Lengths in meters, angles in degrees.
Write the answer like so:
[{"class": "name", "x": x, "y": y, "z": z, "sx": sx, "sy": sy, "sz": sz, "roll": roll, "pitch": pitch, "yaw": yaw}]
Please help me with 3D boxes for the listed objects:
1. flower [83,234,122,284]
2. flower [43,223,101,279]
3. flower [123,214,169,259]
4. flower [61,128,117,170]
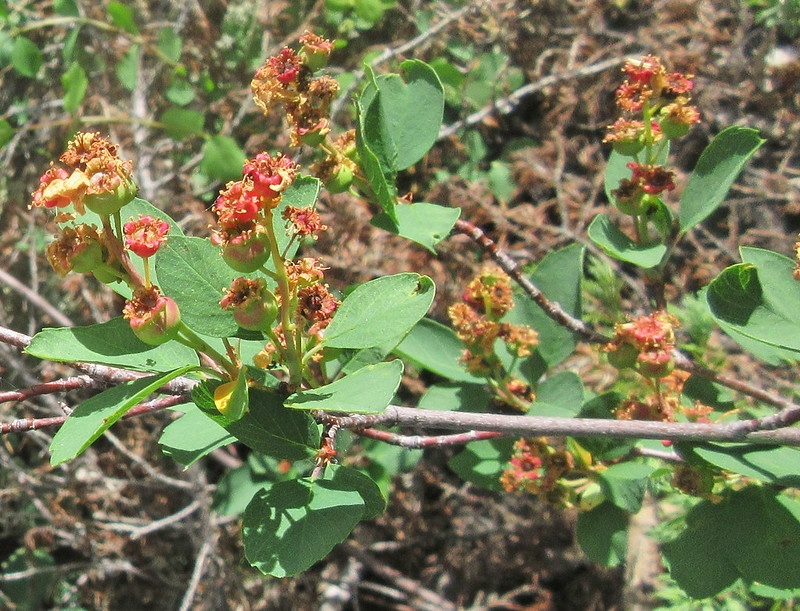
[{"class": "flower", "x": -0.852, "y": -0.140, "z": 2.647, "sx": 0.088, "sy": 0.070, "sz": 0.167, "roll": -7, "pitch": 67, "yaw": -15}, {"class": "flower", "x": -0.947, "y": -0.195, "z": 2.621, "sx": 0.164, "sy": 0.142, "sz": 0.063, "roll": -23, "pitch": 98, "yaw": -28}, {"class": "flower", "x": -0.724, "y": -0.201, "z": 2.596, "sx": 0.113, "sy": 0.056, "sz": 0.121, "roll": 3, "pitch": 75, "yaw": -4}, {"class": "flower", "x": -0.889, "y": -0.458, "z": 2.600, "sx": 0.124, "sy": 0.118, "sz": 0.071, "roll": -17, "pitch": 81, "yaw": 16}]
